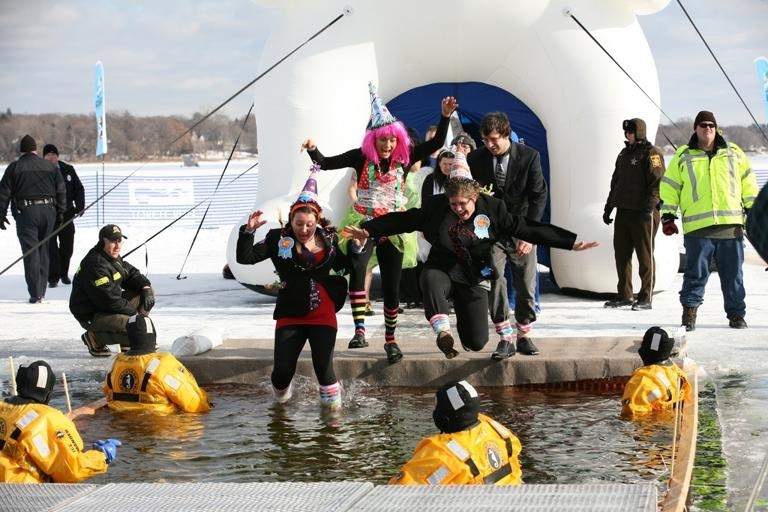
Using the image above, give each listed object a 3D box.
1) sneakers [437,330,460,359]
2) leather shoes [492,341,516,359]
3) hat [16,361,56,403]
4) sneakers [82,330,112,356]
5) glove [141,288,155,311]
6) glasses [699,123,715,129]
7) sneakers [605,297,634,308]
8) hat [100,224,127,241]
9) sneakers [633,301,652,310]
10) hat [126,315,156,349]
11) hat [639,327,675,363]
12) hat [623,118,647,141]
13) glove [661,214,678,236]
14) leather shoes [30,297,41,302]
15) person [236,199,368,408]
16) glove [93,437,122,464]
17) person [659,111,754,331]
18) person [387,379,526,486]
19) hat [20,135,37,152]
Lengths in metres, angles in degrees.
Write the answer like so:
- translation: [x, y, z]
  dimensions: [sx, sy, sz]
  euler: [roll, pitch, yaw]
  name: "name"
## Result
- translation: [0.535, 0.729, 7.724]
  dimensions: [0.120, 0.121, 0.270]
  euler: [-24, -42, 2]
  name: "sneakers"
- translation: [1.050, 0.798, 8.248]
  dimensions: [0.146, 0.160, 0.289]
  euler: [-1, 0, 37]
  name: "leather shoes"
- translation: [-2.290, 0.832, 6.335]
  dimensions: [0.241, 0.269, 0.295]
  euler: [11, -4, 3]
  name: "hat"
- translation: [-2.741, 0.887, 9.195]
  dimensions: [0.184, 0.355, 0.140]
  euler: [-10, 34, 10]
  name: "sneakers"
- translation: [-2.262, 0.424, 9.245]
  dimensions: [0.176, 0.206, 0.076]
  euler: [0, -7, 5]
  name: "glove"
- translation: [3.183, -1.298, 9.462]
  dimensions: [0.163, 0.062, 0.066]
  euler: [0, 0, -3]
  name: "glasses"
- translation: [2.735, 0.534, 11.177]
  dimensions: [0.357, 0.124, 0.120]
  euler: [4, -1, 5]
  name: "sneakers"
- translation: [-2.571, -0.226, 8.939]
  dimensions: [0.250, 0.130, 0.160]
  euler: [-10, -6, 28]
  name: "hat"
- translation: [2.945, 0.574, 10.986]
  dimensions: [0.249, 0.091, 0.083]
  euler: [3, -20, -11]
  name: "sneakers"
- translation: [-1.876, 0.599, 7.606]
  dimensions: [0.274, 0.267, 0.268]
  euler: [-3, 5, 1]
  name: "hat"
- translation: [2.107, 0.708, 7.605]
  dimensions: [0.278, 0.331, 0.291]
  euler: [2, 6, -12]
  name: "hat"
- translation: [2.805, -1.437, 10.749]
  dimensions: [0.238, 0.263, 0.236]
  euler: [0, 0, 12]
  name: "hat"
- translation: [2.862, -0.313, 9.619]
  dimensions: [0.162, 0.196, 0.094]
  euler: [6, 2, 35]
  name: "glove"
- translation: [-4.409, 0.542, 12.180]
  dimensions: [0.105, 0.047, 0.148]
  euler: [-6, -5, 38]
  name: "leather shoes"
- translation: [-0.640, 0.388, 7.620]
  dimensions: [0.998, 1.659, 0.353]
  euler: [0, -1, -1]
  name: "person"
- translation: [-1.918, 1.333, 6.564]
  dimensions: [0.223, 0.153, 0.093]
  euler: [-17, 4, 11]
  name: "glove"
- translation: [3.249, -0.354, 9.606]
  dimensions: [0.926, 2.198, 0.619]
  euler: [-1, -1, 13]
  name: "person"
- translation: [0.508, 1.145, 6.051]
  dimensions: [0.785, 0.694, 0.304]
  euler: [2, -44, -16]
  name: "person"
- translation: [-4.695, -1.474, 12.615]
  dimensions: [0.256, 0.248, 0.262]
  euler: [-2, -3, -29]
  name: "hat"
